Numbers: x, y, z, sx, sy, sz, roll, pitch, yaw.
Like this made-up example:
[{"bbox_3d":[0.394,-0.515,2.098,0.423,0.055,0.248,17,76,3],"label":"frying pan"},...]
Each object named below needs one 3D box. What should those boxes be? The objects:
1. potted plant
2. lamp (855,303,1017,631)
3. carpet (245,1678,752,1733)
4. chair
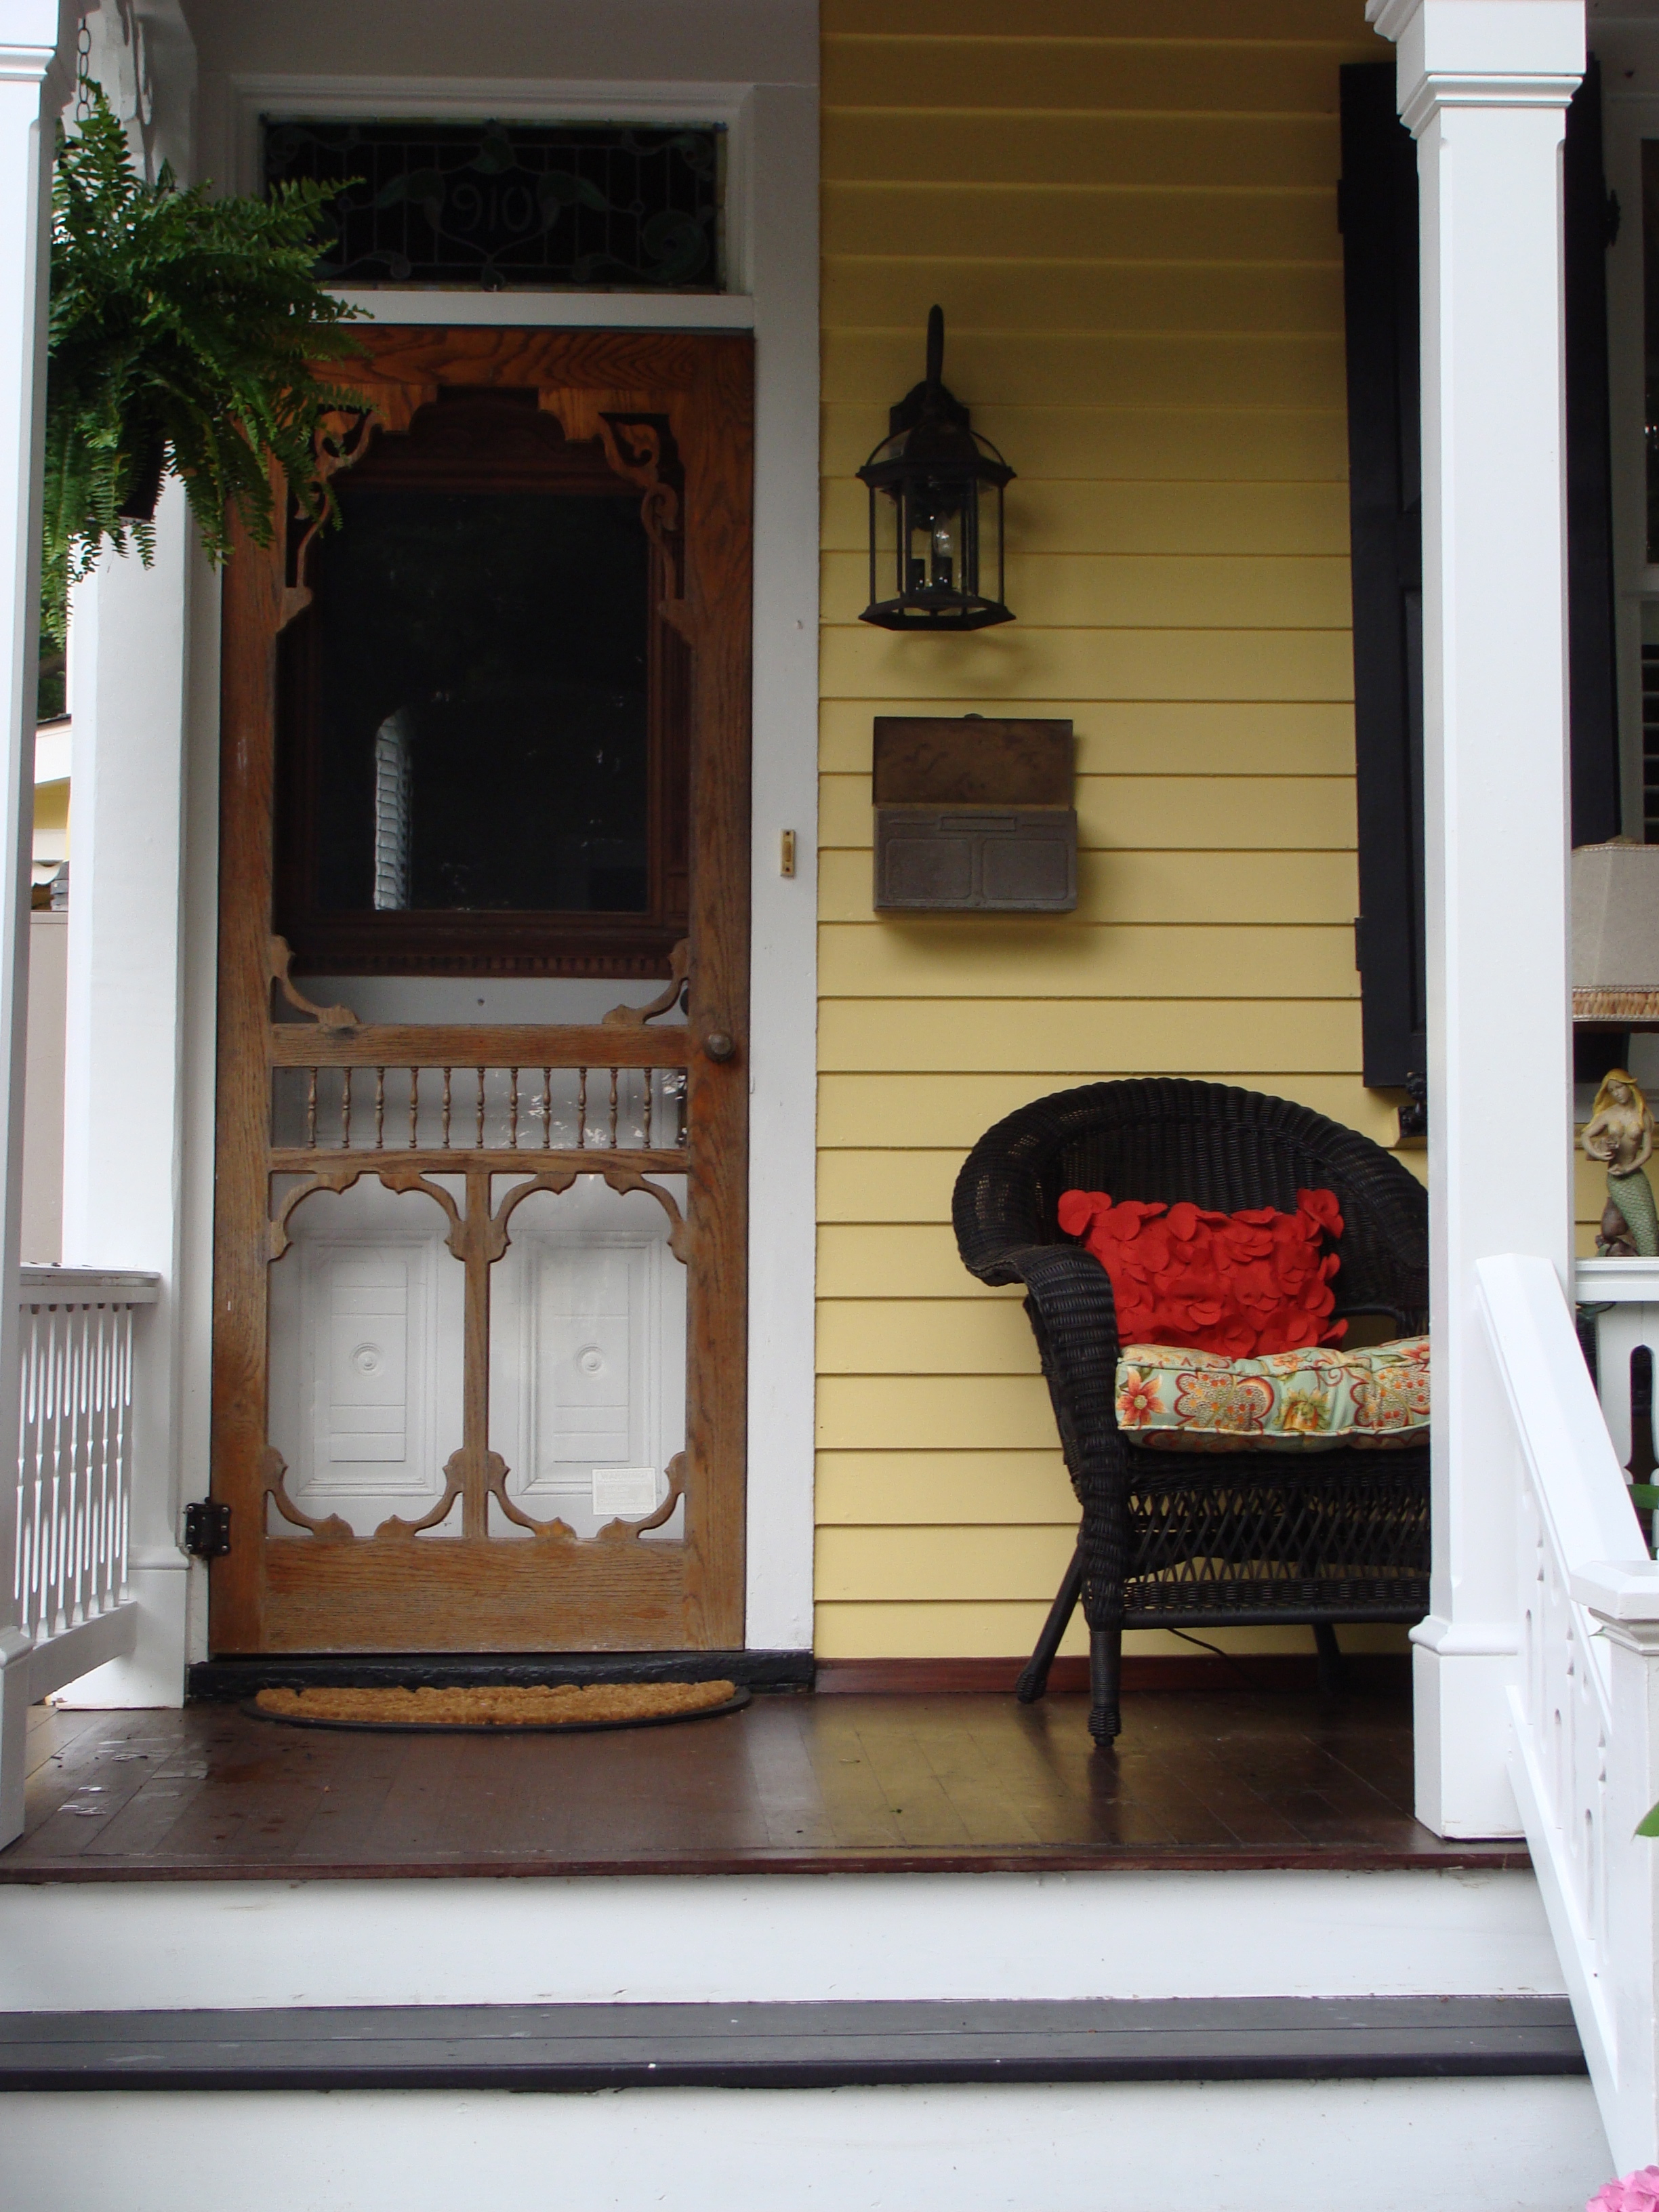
[{"bbox_3d":[-0.814,-0.905,3.081,0.432,0.774,0.514,2,8,-14],"label":"potted plant"},{"bbox_3d":[0.181,-0.975,3.819,0.247,0.501,0.238,0,6,-25],"label":"lamp"},{"bbox_3d":[-0.480,0.860,3.551,0.699,0.022,0.409,1,-3,-1],"label":"carpet"},{"bbox_3d":[0.481,0.387,3.530,0.802,0.904,0.685,0,-2,-6],"label":"chair"}]
